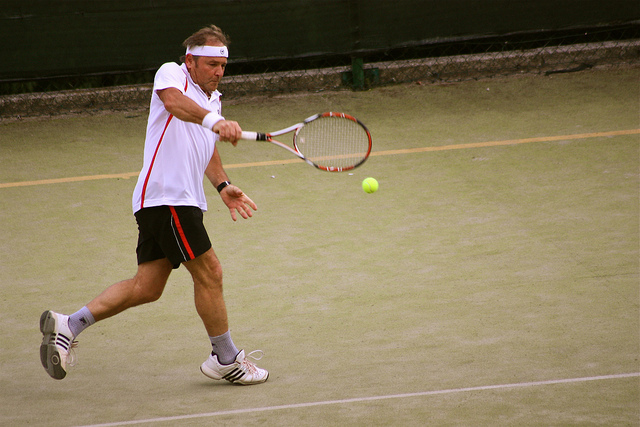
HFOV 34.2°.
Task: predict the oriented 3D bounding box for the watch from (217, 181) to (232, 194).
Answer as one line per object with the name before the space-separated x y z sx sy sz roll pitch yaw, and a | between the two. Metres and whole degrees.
watch | -0.769 -0.205 8.354 0.103 0.060 0.093 -29 -1 -11

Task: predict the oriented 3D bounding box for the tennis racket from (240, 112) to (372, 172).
tennis racket | -0.345 -0.721 9.859 2.235 0.537 0.108 8 10 44

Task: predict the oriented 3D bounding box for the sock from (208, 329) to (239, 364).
sock | -0.742 1.043 8.077 0.185 0.240 0.120 -9 22 -17

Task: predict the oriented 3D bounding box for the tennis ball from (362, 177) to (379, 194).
tennis ball | 0.492 -0.258 10.123 0.181 0.121 0.147 0 7 5
